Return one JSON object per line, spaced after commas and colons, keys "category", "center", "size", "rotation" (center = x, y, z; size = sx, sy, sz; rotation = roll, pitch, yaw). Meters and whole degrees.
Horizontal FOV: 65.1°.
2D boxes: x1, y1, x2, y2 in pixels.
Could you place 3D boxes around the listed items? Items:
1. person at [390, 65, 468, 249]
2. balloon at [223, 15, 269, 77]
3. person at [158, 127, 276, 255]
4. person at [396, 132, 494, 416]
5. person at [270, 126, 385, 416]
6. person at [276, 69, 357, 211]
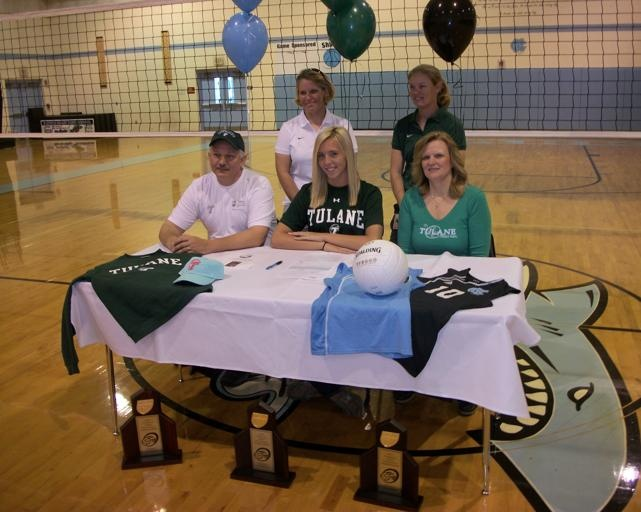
{"category": "person", "center": [0.898, -0.565, 4.197], "size": [0.624, 2.006, 0.692], "rotation": [-4, 11, -5]}
{"category": "balloon", "center": [-0.779, -2.276, 5.464], "size": [0.490, 0.661, 0.512], "rotation": [-5, 21, -16]}
{"category": "person", "center": [-0.702, -0.485, 3.619], "size": [0.712, 0.839, 0.947], "rotation": [6, 18, 12]}
{"category": "person", "center": [0.825, 0.029, 3.690], "size": [0.612, 1.772, 0.726], "rotation": [0, 11, 9]}
{"category": "person", "center": [0.059, 0.057, 3.720], "size": [0.722, 1.910, 0.757], "rotation": [7, 14, 13]}
{"category": "person", "center": [-0.062, -1.067, 4.321], "size": [0.578, 1.263, 0.616], "rotation": [4, 16, 0]}
